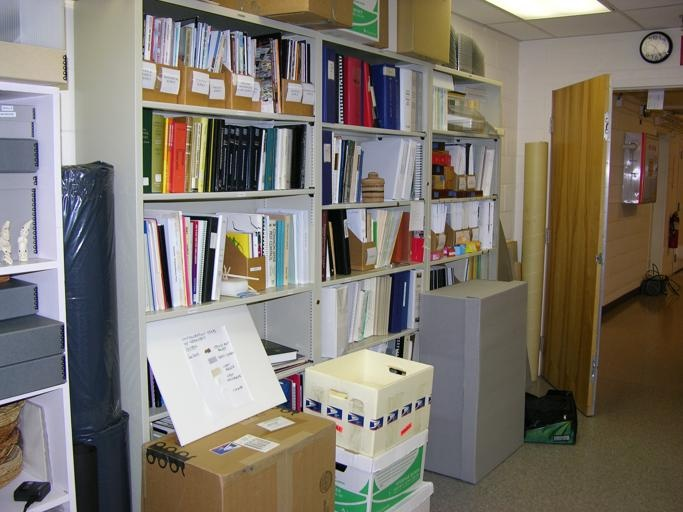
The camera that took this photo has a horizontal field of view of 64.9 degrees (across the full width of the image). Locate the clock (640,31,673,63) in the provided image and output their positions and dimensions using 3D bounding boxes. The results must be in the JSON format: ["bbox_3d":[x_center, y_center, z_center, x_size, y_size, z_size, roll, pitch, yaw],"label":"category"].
[{"bbox_3d":[2.777,-1.828,4.724,0.032,0.256,0.226,-3,15,-45],"label":"clock"}]
